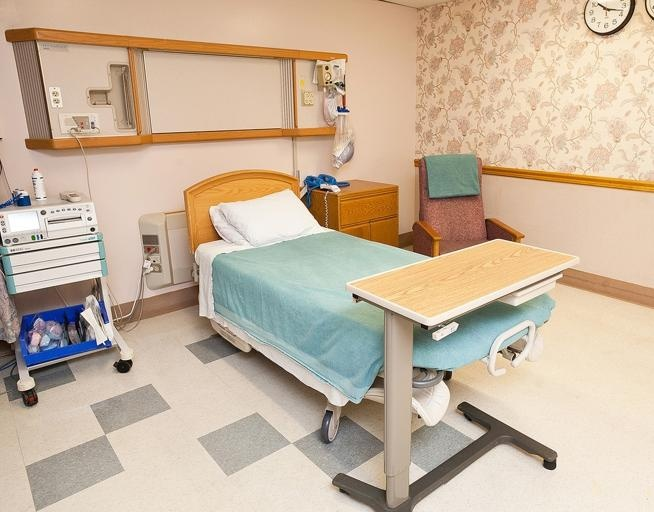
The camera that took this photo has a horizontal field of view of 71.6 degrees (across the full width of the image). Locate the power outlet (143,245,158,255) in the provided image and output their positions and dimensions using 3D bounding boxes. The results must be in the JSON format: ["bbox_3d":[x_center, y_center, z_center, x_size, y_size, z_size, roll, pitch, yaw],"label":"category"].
[{"bbox_3d":[-1.429,-0.047,3.694,0.088,0.085,0.022,6,5,8],"label":"power outlet"}]

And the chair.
[{"bbox_3d":[1.188,-0.548,4.409,0.891,1.235,1.041,-4,12,-13],"label":"chair"}]

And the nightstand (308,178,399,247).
[{"bbox_3d":[0.269,-0.490,4.568,0.606,0.813,0.865,12,19,41],"label":"nightstand"}]

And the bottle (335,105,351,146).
[{"bbox_3d":[0.157,-1.317,4.525,0.158,0.360,0.130,-3,19,2],"label":"bottle"}]

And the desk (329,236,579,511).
[{"bbox_3d":[0.627,0.644,2.268,1.035,1.015,0.633,-15,21,-40],"label":"desk"}]

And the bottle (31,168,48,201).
[{"bbox_3d":[-1.980,-0.501,3.119,0.083,0.201,0.322,-15,22,-30],"label":"bottle"}]

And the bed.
[{"bbox_3d":[0.042,0.182,3.127,1.377,1.200,2.487,-16,23,-37],"label":"bed"}]
